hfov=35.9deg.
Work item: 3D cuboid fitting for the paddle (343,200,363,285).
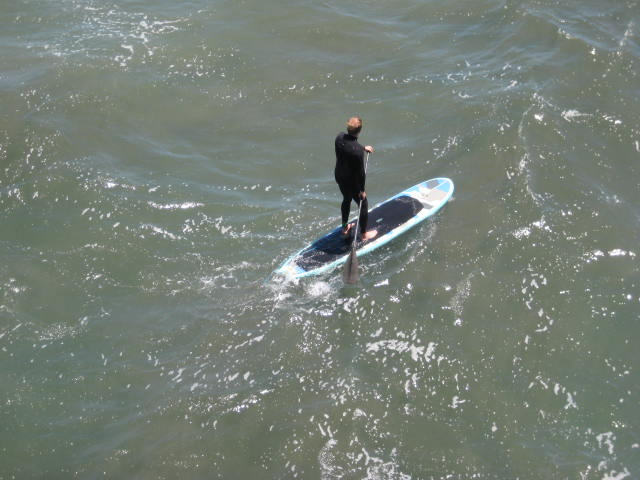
[{"bbox_3d":[0.744,0.620,22.747,0.375,1.877,0.441,-17,30,-38],"label":"paddle"}]
